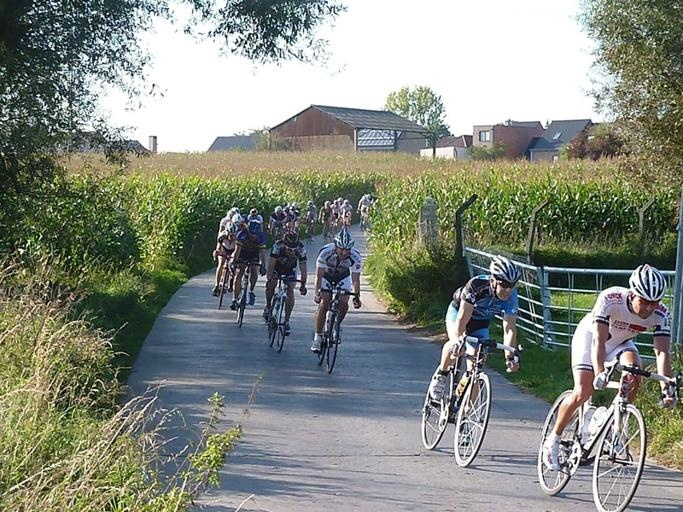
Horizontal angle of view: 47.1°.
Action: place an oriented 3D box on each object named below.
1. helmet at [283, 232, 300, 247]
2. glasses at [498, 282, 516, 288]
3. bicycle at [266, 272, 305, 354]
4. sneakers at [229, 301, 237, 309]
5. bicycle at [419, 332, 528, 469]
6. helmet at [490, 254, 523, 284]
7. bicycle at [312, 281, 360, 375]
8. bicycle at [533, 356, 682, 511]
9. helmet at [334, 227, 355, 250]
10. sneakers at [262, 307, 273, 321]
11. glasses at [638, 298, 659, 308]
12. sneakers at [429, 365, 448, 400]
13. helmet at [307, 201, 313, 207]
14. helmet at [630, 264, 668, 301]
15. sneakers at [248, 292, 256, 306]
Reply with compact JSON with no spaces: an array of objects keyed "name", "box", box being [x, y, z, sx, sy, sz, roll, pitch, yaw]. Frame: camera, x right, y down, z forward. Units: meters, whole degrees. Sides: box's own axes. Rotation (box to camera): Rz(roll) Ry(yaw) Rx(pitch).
[{"name":"helmet","box":[-0.882,-0.310,13.930,0.256,0.282,0.352,2,5,-7]},{"name":"glasses","box":[1.859,0.309,8.729,0.191,0.081,0.123,2,5,-16]},{"name":"bicycle","box":[-1.153,1.009,14.298,0.334,1.309,1.096,1,5,-9]},{"name":"sneakers","box":[-2.376,1.073,17.227,0.093,0.195,0.184,3,10,4]},{"name":"bicycle","box":[1.399,1.597,8.982,0.538,1.412,1.312,0,6,-28]},{"name":"helmet","box":[1.849,0.164,8.833,0.280,0.310,0.436,4,5,19]},{"name":"bicycle","box":[-0.115,1.129,12.805,0.512,1.406,1.033,2,5,0]},{"name":"bicycle","box":[2.636,1.736,7.894,0.787,1.445,1.315,-2,7,-43]},{"name":"helmet","box":[0.051,-0.286,12.775,0.237,0.313,0.435,3,13,-7]},{"name":"sneakers","box":[-1.363,1.115,14.834,0.169,0.278,0.086,6,-7,42]},{"name":"glasses","box":[3.009,0.451,7.684,0.096,0.052,0.126,4,-16,3]},{"name":"sneakers","box":[1.174,1.553,9.509,0.142,0.493,0.188,10,-4,6]},{"name":"helmet","box":[-1.483,-2.546,37.520,0.203,0.183,0.319,2,4,7]},{"name":"helmet","box":[3.016,0.252,7.703,0.309,0.364,0.328,5,5,21]},{"name":"sneakers","box":[-1.938,0.954,17.001,0.098,0.367,0.224,1,15,-4]}]
